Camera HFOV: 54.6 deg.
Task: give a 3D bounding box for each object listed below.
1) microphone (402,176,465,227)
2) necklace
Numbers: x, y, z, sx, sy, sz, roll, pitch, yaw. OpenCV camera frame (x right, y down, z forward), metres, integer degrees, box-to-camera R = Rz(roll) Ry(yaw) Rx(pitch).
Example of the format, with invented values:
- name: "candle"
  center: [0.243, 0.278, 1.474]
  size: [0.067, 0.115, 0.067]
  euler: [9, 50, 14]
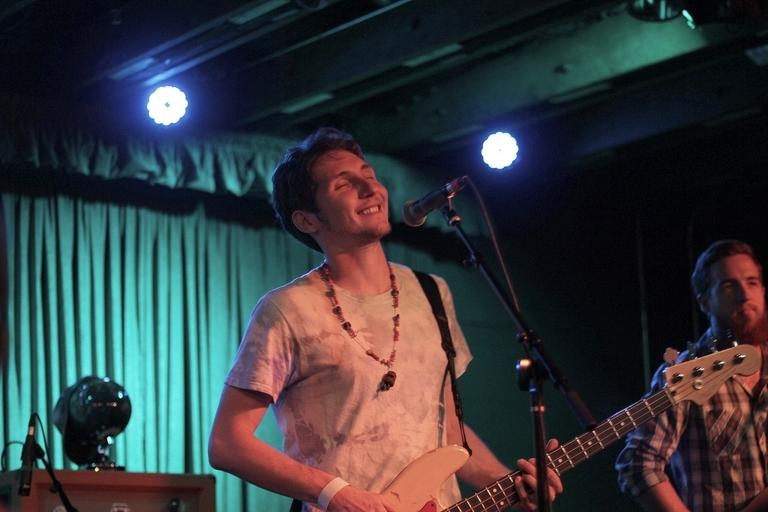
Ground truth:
- name: "microphone"
  center: [0.241, -0.282, 4.180]
  size: [0.177, 0.180, 0.455]
  euler: [-10, -16, -36]
- name: "necklace"
  center: [-0.141, 0.403, 4.125]
  size: [0.345, 0.718, 0.127]
  euler: [-2, -24, -37]
